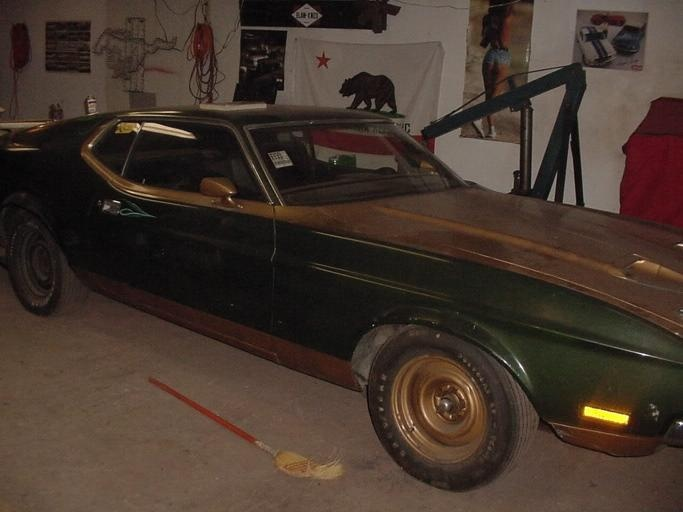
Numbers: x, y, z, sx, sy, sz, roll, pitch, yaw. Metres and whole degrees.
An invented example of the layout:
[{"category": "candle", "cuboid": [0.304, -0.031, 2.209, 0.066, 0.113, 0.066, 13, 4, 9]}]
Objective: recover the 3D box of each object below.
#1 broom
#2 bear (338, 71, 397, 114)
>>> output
[{"category": "broom", "cuboid": [-0.683, 1.123, 3.457, 1.466, 0.111, 0.439, 21, 30, 34]}, {"category": "bear", "cuboid": [0.476, -2.739, 8.708, 1.194, 0.855, 0.419, 11, 15, 25]}]
